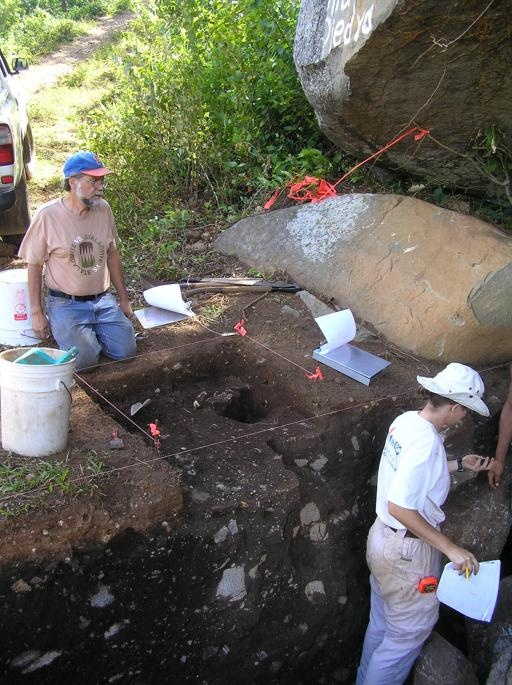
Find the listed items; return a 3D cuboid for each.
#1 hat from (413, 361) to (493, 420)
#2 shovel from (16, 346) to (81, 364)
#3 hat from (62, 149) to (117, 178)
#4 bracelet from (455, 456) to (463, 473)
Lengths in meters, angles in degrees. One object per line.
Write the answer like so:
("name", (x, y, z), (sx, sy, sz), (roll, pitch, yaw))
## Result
("hat", (0.820, 0.192, 2.480), (0.244, 0.220, 0.201), (-3, 23, 3))
("shovel", (-0.889, 0.049, 2.548), (0.151, 0.047, 0.112), (10, 3, -6))
("hat", (-0.888, -0.941, 3.137), (0.227, 0.102, 0.149), (-6, 27, -9))
("bracelet", (0.985, 0.590, 2.866), (0.034, 0.074, 0.062), (-4, 6, 19))
